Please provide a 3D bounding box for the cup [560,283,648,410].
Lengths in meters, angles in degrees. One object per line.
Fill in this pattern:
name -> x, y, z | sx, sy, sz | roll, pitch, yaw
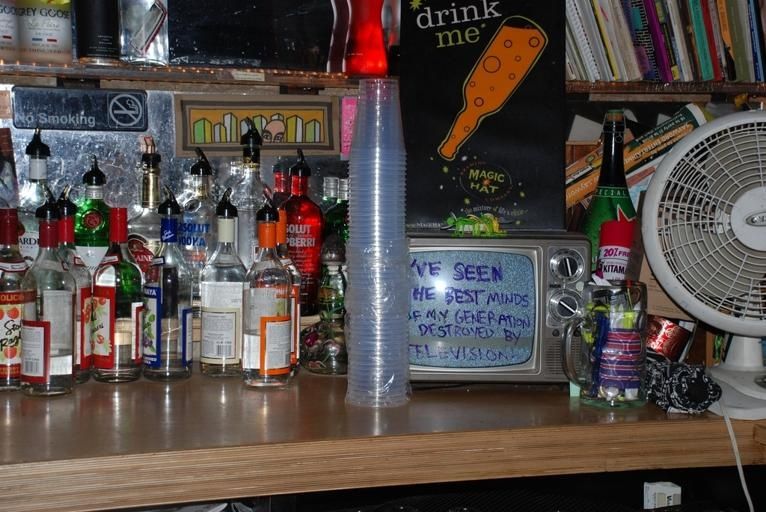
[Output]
cup -> 0.456, 0.199, 1.786 | 0.142, 0.247, 0.262 | -2, -5, 42

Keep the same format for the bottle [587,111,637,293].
bottle -> 0.578, -0.160, 2.081 | 0.122, 0.418, 0.408 | 2, 5, 15
